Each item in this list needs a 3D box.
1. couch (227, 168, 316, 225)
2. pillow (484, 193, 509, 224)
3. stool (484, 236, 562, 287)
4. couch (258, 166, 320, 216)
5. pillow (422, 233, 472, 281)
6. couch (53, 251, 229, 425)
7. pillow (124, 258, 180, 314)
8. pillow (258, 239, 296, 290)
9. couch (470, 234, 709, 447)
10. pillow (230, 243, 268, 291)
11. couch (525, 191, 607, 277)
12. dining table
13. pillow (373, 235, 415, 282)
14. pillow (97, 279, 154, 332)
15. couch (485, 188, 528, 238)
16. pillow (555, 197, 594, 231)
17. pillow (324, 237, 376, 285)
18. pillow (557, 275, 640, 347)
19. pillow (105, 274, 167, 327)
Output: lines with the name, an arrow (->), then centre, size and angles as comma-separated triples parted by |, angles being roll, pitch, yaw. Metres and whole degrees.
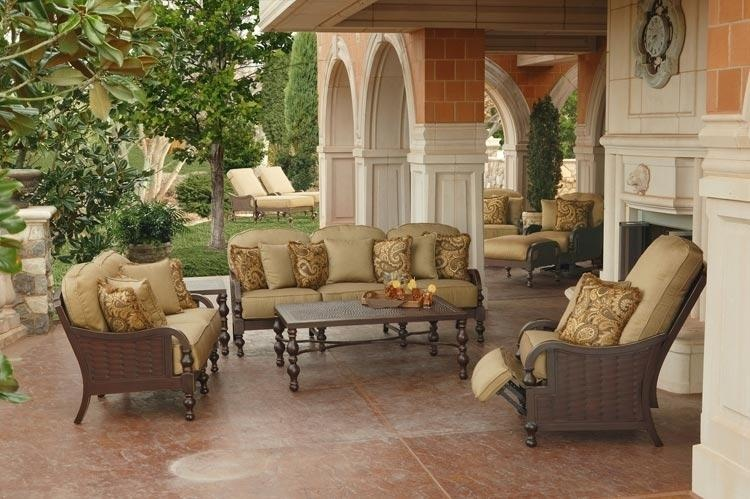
couch -> -2.859, -1.479, 16.199 | 2.028, 0.979, 1.978 | 3, 6, 25
pillow -> 2.243, -0.727, 11.113 | 0.434, 0.516, 0.576 | 2, 11, 11
stool -> 2.411, 0.032, 9.524 | 0.950, 0.522, 1.143 | -6, 9, -28
couch -> -2.437, -1.841, 16.869 | 1.885, 0.968, 1.060 | 8, 12, 34
pillow -> 0.867, 0.070, 6.812 | 0.562, 0.440, 0.214 | 1, -11, 2
couch -> -2.013, 0.612, 5.290 | 1.454, 1.272, 2.209 | 0, 4, -7
pillow -> -1.902, 0.326, 5.145 | 0.197, 0.441, 0.458 | -26, 0, 28
pillow -> -1.041, 0.190, 6.413 | 0.322, 0.538, 0.562 | -13, -10, 39
couch -> 1.609, 0.651, 4.990 | 2.075, 1.428, 1.283 | 1, 2, 2
pillow -> -1.291, 0.190, 6.321 | 0.503, 0.417, 0.147 | -8, -12, -47
couch -> 3.148, -0.297, 10.603 | 1.591, 1.500, 1.429 | -1, 1, -44
dining table -> -0.092, 0.809, 6.056 | 1.827, 0.692, 1.549 | -2, 10, -12
pillow -> 0.189, 0.107, 6.582 | 0.597, 0.445, 0.161 | -6, 0, 3
pillow -> -1.951, 0.446, 4.689 | 0.506, 0.391, 0.261 | -1, 3, 22
couch -> 2.349, -0.672, 11.133 | 1.200, 0.967, 0.901 | 0, 8, -3
pillow -> 3.337, -0.582, 10.133 | 0.550, 0.533, 0.524 | 6, 13, 29
pillow -> -0.283, 0.154, 6.656 | 0.613, 0.437, 0.189 | 1, -15, -4
pillow -> 1.593, 0.473, 4.308 | 0.171, 0.472, 0.517 | 24, 6, -33
pillow -> -1.812, 0.406, 4.881 | 0.181, 0.411, 0.446 | -39, 24, -28
